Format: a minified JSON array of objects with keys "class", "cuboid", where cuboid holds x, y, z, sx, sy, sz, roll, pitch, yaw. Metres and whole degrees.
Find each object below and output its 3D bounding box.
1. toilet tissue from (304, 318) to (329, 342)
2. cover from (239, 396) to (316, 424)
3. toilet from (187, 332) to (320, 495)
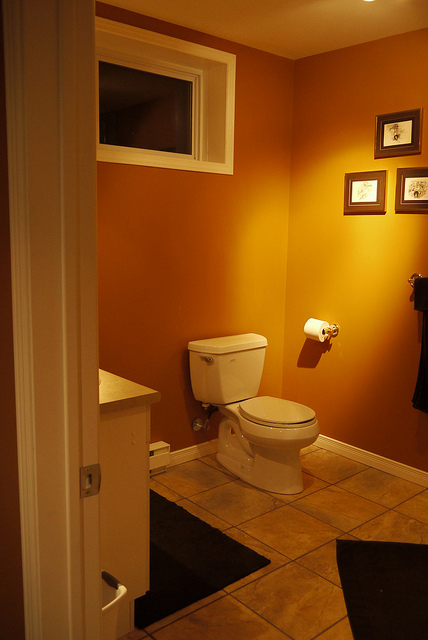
[{"class":"toilet tissue","cuboid":[0.654,0.059,3.408,0.124,0.152,0.156,-1,0,-37]},{"class":"cover","cuboid":[0.339,0.510,2.952,0.428,0.043,0.326,8,9,44]},{"class":"toilet","cuboid":[0.254,0.548,3.061,0.432,0.799,0.753,-9,13,-40]}]
